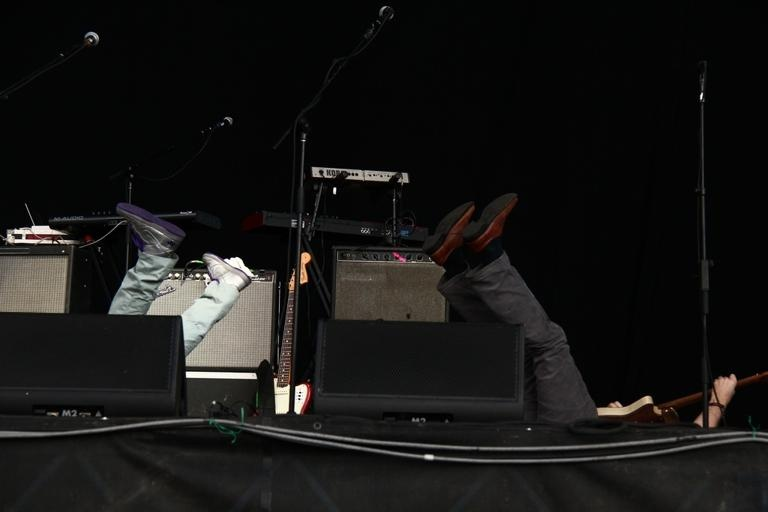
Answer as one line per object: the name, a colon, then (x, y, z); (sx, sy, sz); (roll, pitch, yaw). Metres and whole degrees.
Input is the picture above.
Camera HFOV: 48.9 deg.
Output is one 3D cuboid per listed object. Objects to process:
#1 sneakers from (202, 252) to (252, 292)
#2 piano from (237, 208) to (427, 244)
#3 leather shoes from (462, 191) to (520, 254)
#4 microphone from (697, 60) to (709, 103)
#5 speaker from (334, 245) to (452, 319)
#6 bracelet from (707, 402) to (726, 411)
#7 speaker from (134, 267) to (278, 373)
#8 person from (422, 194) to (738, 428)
sneakers: (-0.843, 0.096, 4.517); (0.266, 0.089, 0.111); (33, -38, -1)
piano: (-0.287, -0.180, 5.462); (1.219, 0.188, 0.474); (6, -1, -9)
leather shoes: (0.566, -0.182, 4.217); (0.418, 0.187, 0.148); (-41, 23, -25)
microphone: (1.826, -0.969, 4.833); (0.041, 0.234, 0.337); (6, -1, 22)
speaker: (0.021, 0.170, 5.664); (0.810, 0.434, 0.748); (1, 0, -5)
bracelet: (1.814, 0.825, 4.596); (0.107, 0.033, 0.140); (3, -7, 16)
speaker: (-0.972, 0.363, 4.549); (0.616, 0.540, 0.234); (3, -18, -8)
person: (1.265, 0.362, 5.011); (0.511, 1.550, 0.467); (-8, 27, 39)
